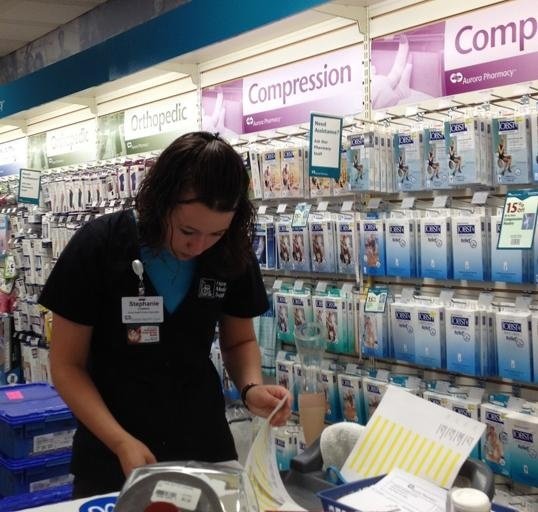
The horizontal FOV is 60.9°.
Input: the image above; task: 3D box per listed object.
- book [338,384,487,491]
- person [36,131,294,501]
[{"bbox_3d":[0.294,0.403,0.960,0.137,0.174,0.267,-5,4,-42],"label":"book"},{"bbox_3d":[-0.251,0.183,1.301,0.696,1.008,0.496,-4,4,-34],"label":"person"}]
